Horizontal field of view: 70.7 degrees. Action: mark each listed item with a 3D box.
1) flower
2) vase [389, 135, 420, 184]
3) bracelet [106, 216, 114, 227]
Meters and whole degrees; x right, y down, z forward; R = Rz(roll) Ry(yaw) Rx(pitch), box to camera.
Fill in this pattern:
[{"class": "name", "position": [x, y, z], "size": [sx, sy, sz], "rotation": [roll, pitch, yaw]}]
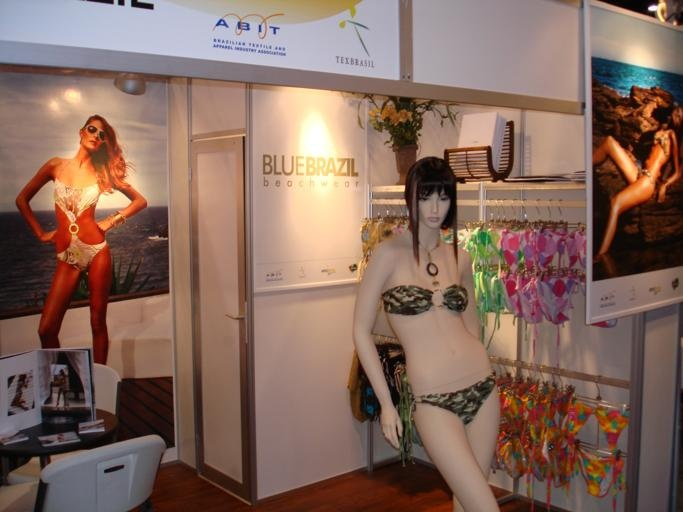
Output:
[{"class": "flower", "position": [0.595, -1.086, 3.930], "size": [0.483, 0.428, 0.587], "rotation": [-11, 26, 0]}, {"class": "vase", "position": [0.530, -0.693, 3.928], "size": [0.230, 0.363, 0.277], "rotation": [10, -27, -3]}, {"class": "bracelet", "position": [-2.024, -0.313, 4.218], "size": [0.059, 0.075, 0.025], "rotation": [1, 7, 25]}]
